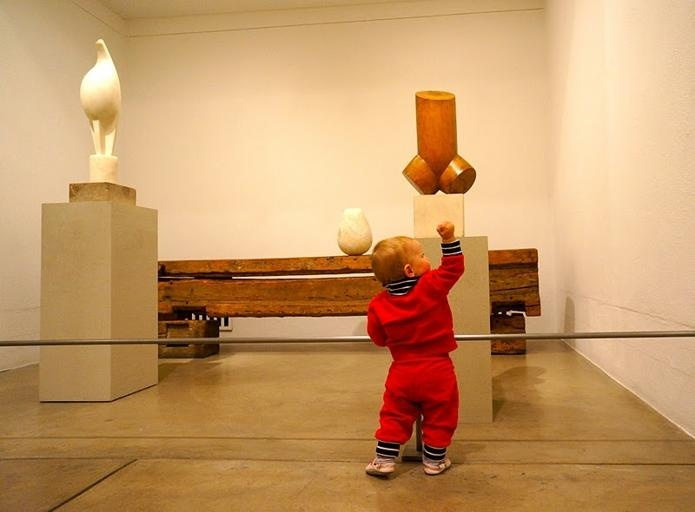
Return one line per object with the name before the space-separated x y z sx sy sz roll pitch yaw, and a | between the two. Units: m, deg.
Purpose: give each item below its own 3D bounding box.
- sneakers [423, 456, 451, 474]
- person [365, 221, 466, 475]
sneakers | 0.332 0.775 2.253 0.112 0.076 0.043 1 -3 -39
person | 0.264 0.363 2.307 0.378 0.951 0.422 -1 13 5
